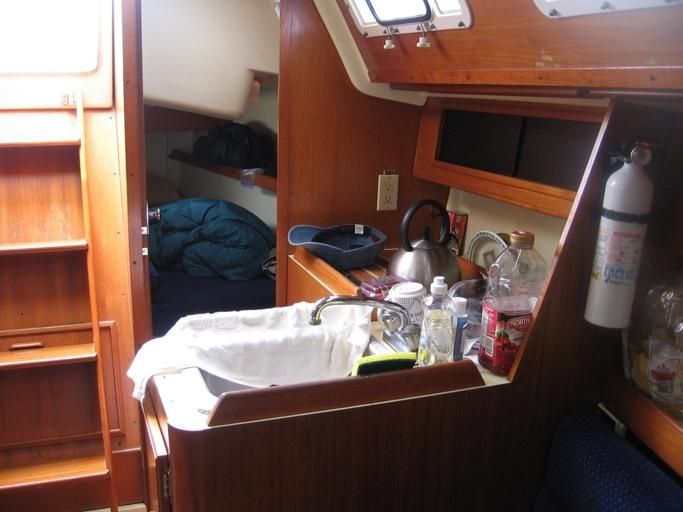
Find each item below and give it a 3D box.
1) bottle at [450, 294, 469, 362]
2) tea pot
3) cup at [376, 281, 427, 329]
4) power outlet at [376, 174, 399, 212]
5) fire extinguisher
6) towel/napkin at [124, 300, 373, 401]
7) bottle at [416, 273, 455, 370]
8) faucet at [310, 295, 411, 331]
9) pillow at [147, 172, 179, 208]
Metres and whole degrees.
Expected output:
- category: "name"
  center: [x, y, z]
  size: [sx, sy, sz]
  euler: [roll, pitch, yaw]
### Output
- category: "bottle"
  center: [0.333, 0.201, 1.490]
  size: [0.047, 0.186, 0.120]
  euler: [3, 13, 12]
- category: "tea pot"
  center: [0.313, -0.046, 2.066]
  size: [0.300, 0.348, 0.311]
  euler: [2, 8, 0]
- category: "cup"
  center: [0.197, 0.146, 1.704]
  size: [0.142, 0.141, 0.120]
  euler: [-7, 22, -14]
- category: "power outlet"
  center: [0.211, -0.304, 2.462]
  size: [0.151, 0.217, 0.021]
  euler: [-4, 16, -23]
- category: "fire extinguisher"
  center: [0.720, -0.040, 1.350]
  size: [0.110, 0.489, 0.094]
  euler: [-4, 13, -20]
- category: "towel/napkin"
  center: [-0.290, 0.272, 1.629]
  size: [0.595, 0.248, 0.375]
  euler: [1, 5, -17]
- category: "bottle"
  center: [0.276, 0.187, 1.503]
  size: [0.095, 0.264, 0.098]
  euler: [-2, 20, 1]
- category: "faucet"
  center: [0.058, 0.179, 1.622]
  size: [0.298, 0.103, 0.069]
  euler: [2, 47, -12]
- category: "pillow"
  center: [-1.617, -0.597, 4.743]
  size: [0.285, 0.221, 0.614]
  euler: [-4, 14, -19]
